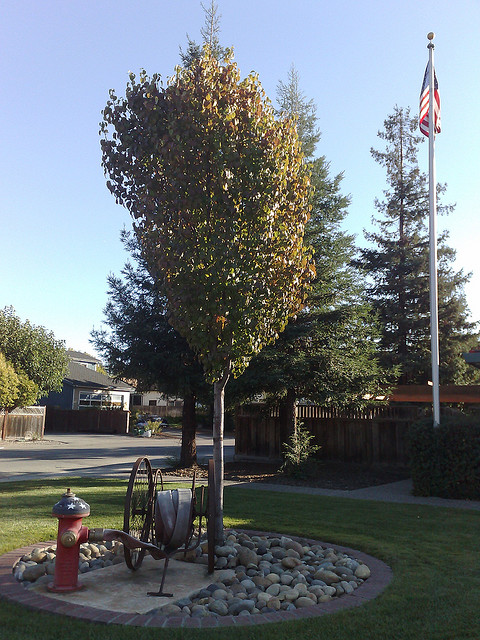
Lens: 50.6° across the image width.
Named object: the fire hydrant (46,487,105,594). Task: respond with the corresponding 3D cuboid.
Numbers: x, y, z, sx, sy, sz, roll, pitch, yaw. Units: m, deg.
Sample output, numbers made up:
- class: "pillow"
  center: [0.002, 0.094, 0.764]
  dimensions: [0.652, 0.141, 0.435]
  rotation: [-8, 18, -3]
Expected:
- class: "fire hydrant"
  center: [-1.306, 1.742, 4.060]
  dimensions: [0.405, 0.757, 0.515]
  rotation: [4, -13, -21]
